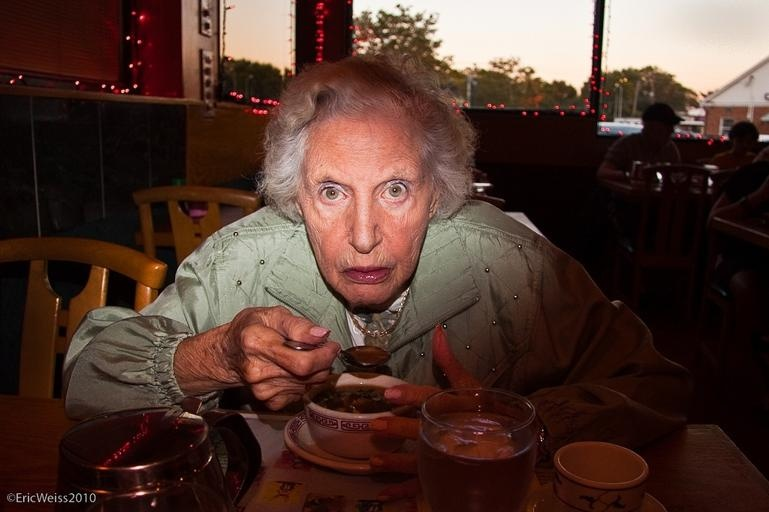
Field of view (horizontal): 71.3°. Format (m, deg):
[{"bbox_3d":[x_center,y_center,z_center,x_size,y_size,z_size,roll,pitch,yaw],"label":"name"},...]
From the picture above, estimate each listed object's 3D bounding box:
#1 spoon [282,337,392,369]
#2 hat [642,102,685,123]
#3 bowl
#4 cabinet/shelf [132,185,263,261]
[{"bbox_3d":[-0.091,0.217,1.115,0.233,0.034,0.078,15,37,-39],"label":"spoon"},{"bbox_3d":[1.784,-0.915,3.433,0.175,0.104,0.126,-8,25,-3],"label":"hat"},{"bbox_3d":[-0.047,0.352,1.088,0.201,0.107,0.190,3,-7,0],"label":"bowl"},{"bbox_3d":[-0.870,-0.158,2.388,0.318,0.445,0.294,2,41,-3],"label":"cabinet/shelf"}]
